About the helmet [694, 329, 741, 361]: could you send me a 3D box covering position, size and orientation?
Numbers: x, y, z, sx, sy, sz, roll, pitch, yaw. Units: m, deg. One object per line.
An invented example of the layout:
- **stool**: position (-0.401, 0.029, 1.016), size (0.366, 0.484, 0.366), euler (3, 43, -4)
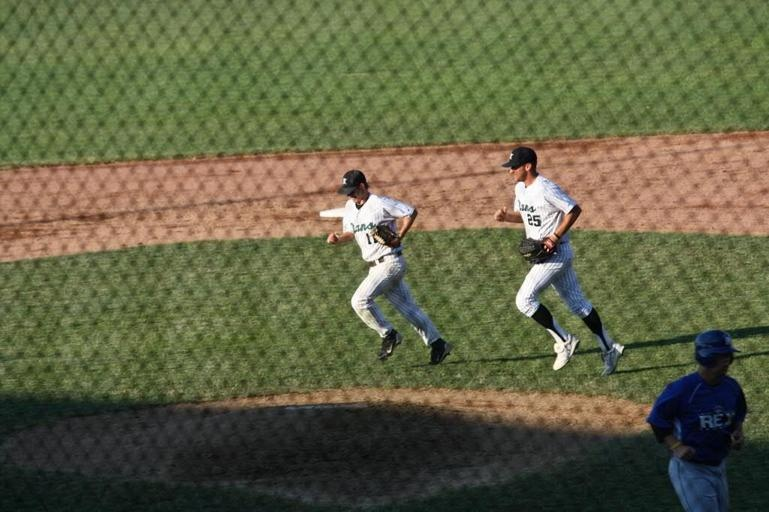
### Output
- **helmet**: position (3.207, 0.848, 10.609), size (0.464, 0.183, 0.275), euler (-3, 4, 12)

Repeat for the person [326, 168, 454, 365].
- **person**: position (-0.034, 0.148, 13.256), size (1.152, 2.377, 0.692), euler (-8, -10, -4)

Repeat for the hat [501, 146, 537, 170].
- **hat**: position (1.605, -1.142, 12.851), size (0.465, 0.173, 0.257), euler (-2, 18, 6)

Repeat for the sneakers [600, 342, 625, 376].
- **sneakers**: position (2.618, 1.178, 12.862), size (0.281, 0.425, 0.168), euler (6, 30, -10)

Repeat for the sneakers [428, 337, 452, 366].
- **sneakers**: position (0.663, 1.154, 13.291), size (0.129, 0.360, 0.244), euler (40, -15, 28)

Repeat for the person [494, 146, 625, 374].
- **person**: position (1.978, 0.058, 12.933), size (1.146, 2.726, 0.867), euler (-9, -10, 3)

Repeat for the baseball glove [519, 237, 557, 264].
- **baseball glove**: position (1.766, -0.070, 12.785), size (0.410, 0.307, 0.169), euler (-9, -10, 15)

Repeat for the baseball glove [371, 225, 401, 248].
- **baseball glove**: position (0.012, -0.237, 13.092), size (0.248, 0.140, 0.326), euler (38, -5, -17)

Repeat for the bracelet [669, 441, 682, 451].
- **bracelet**: position (2.813, 1.831, 10.653), size (0.036, 0.088, 0.091), euler (43, 2, -30)
